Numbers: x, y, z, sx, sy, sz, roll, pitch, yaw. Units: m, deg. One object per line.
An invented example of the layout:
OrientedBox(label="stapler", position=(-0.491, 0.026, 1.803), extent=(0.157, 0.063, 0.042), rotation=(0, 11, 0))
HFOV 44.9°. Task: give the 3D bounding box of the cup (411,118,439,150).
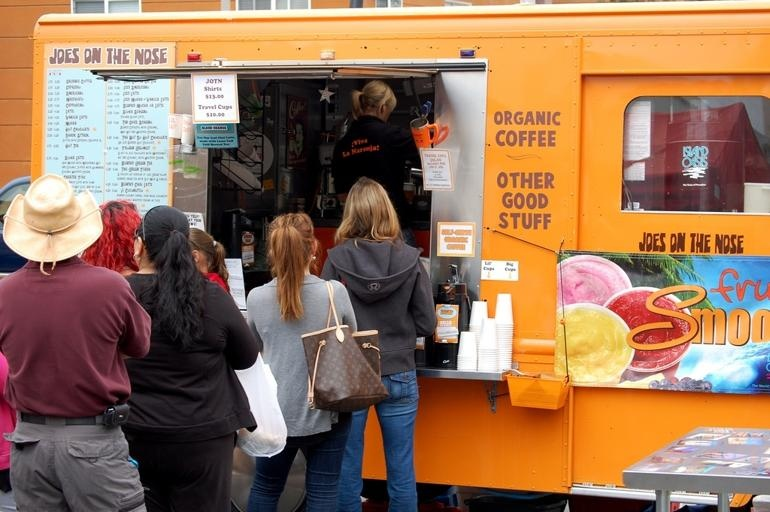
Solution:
OrientedBox(label="cup", position=(0.265, -0.841, 6.330), extent=(0.190, 0.213, 0.111), rotation=(3, 3, 34))

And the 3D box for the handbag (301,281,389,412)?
OrientedBox(label="handbag", position=(-0.239, 0.561, 5.611), extent=(0.515, 0.799, 0.316), rotation=(1, 2, -6))
